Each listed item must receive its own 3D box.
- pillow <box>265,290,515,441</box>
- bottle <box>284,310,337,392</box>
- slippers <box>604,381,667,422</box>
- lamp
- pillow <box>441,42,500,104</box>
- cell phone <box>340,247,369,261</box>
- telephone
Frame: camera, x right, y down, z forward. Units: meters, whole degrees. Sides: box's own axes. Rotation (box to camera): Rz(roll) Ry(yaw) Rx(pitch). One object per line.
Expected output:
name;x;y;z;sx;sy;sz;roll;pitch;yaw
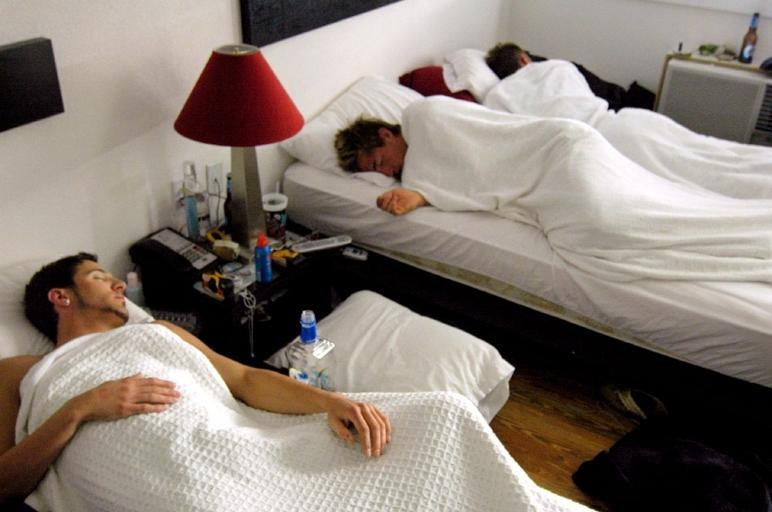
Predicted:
pillow;0.057;0.369;2.088;0.670;0.200;0.532;24;51;23
bottle;-0.284;0.371;2.050;0.155;0.330;0.116;24;44;26
slippers;1.061;0.629;2.329;0.181;0.069;0.149;21;47;25
lamp;-0.600;-0.426;2.245;0.441;0.809;0.292;10;32;10
pillow;0.479;-1.061;3.344;0.365;0.103;0.383;17;49;-10
cell phone;-0.150;-0.017;2.600;0.088;0.021;0.066;14;30;24
telephone;-0.907;0.000;2.298;0.323;0.108;0.198;33;56;16
